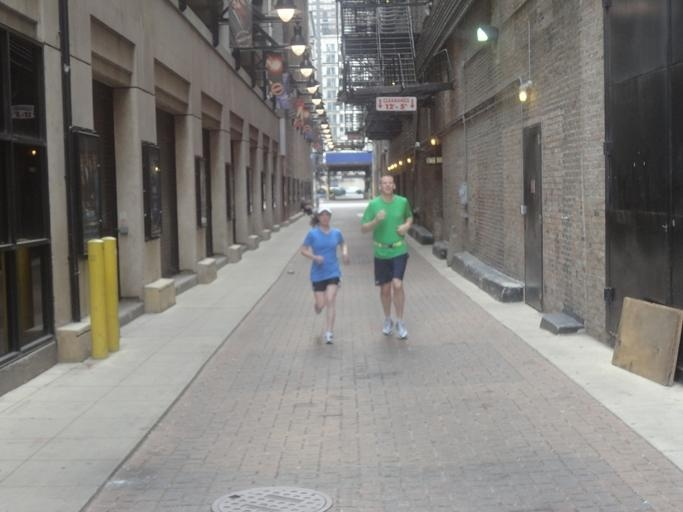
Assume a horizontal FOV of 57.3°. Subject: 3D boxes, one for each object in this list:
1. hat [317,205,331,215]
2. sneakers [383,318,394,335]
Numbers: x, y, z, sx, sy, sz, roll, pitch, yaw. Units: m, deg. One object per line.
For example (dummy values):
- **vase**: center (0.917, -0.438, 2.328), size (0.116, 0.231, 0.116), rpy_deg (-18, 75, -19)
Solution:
- **hat**: center (-0.263, -0.670, 9.372), size (0.188, 0.117, 0.430), rpy_deg (-2, 8, 1)
- **sneakers**: center (0.739, 1.124, 9.900), size (0.174, 0.214, 0.439), rpy_deg (0, -6, 1)
